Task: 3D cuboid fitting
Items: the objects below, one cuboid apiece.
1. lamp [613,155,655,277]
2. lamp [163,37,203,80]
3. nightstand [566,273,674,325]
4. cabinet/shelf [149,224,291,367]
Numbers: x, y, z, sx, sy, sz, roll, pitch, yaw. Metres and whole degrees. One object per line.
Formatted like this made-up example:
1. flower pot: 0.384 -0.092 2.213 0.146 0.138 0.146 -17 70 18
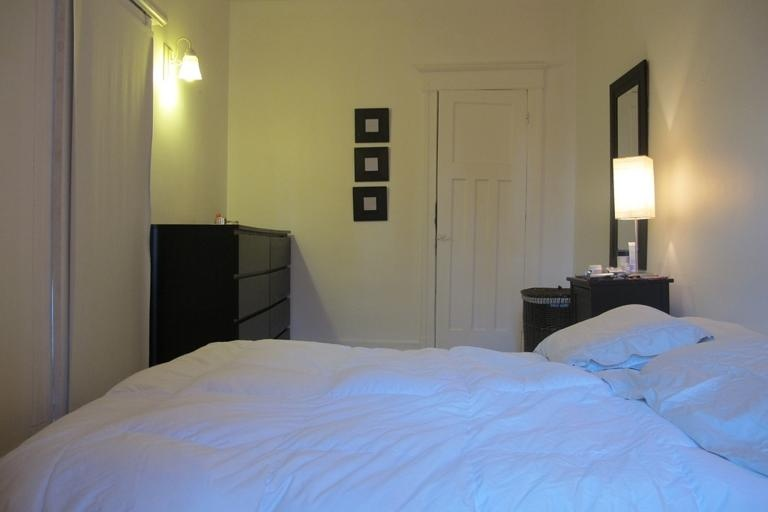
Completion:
1. lamp: 1.656 -0.455 3.630 0.243 0.398 0.134 1 4 21
2. lamp: -1.484 -1.516 4.190 0.378 0.324 0.212 -11 24 -32
3. nightstand: 1.561 0.236 3.645 0.464 0.482 0.350 0 -2 -1
4. cabinet/shelf: -1.226 0.305 4.401 0.596 1.222 1.281 2 4 6
